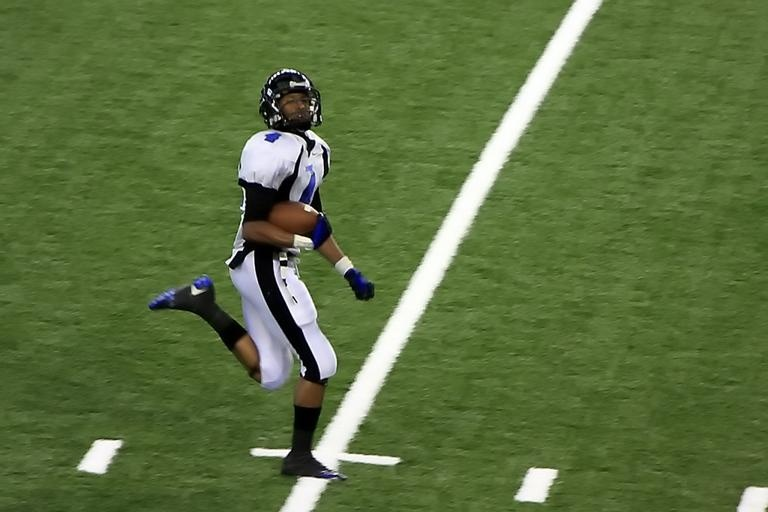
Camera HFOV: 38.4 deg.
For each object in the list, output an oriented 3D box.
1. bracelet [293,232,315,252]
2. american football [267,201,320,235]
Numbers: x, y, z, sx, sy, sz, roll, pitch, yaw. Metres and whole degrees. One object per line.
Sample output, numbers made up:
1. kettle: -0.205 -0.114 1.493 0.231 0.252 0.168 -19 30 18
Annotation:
1. bracelet: -0.468 -0.088 6.535 0.153 0.113 0.084 5 69 -11
2. american football: -0.540 -0.218 6.547 0.286 0.164 0.192 11 65 -7
